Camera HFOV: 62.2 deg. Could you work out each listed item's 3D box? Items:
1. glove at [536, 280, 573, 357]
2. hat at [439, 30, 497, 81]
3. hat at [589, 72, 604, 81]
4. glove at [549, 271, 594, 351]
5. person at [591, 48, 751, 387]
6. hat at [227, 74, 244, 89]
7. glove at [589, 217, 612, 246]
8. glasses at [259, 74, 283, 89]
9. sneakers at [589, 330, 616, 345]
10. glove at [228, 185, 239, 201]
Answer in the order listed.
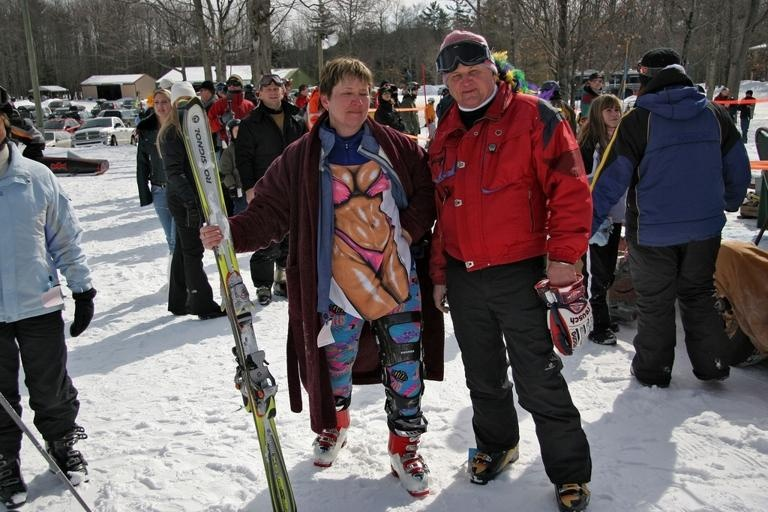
[{"bbox_3d":[1.237,0.445,4.595,0.165,0.515,0.283,-23,13,-29],"label":"glove"},{"bbox_3d":[0.667,-1.512,4.757,0.355,0.258,0.466,1,5,41],"label":"hat"},{"bbox_3d":[3.255,-2.789,9.868,0.141,0.042,0.137,-7,4,-15],"label":"hat"},{"bbox_3d":[1.348,0.442,4.645,0.253,0.527,0.421,2,15,45],"label":"glove"},{"bbox_3d":[2.530,-0.304,5.646,1.330,2.931,0.711,4,13,14],"label":"person"},{"bbox_3d":[-2.352,-2.759,10.068,0.214,0.156,0.299,3,-4,-5],"label":"hat"},{"bbox_3d":[1.995,-0.242,5.895,0.173,0.313,0.255,18,9,25],"label":"glove"},{"bbox_3d":[-1.301,-2.044,7.383,0.176,0.075,0.190,-3,-26,-8],"label":"glasses"},{"bbox_3d":[2.259,0.840,6.640,0.130,0.115,0.272,0,1,-15],"label":"sneakers"},{"bbox_3d":[-1.920,-0.817,8.183,0.106,0.121,0.141,-1,11,-7],"label":"glove"}]
